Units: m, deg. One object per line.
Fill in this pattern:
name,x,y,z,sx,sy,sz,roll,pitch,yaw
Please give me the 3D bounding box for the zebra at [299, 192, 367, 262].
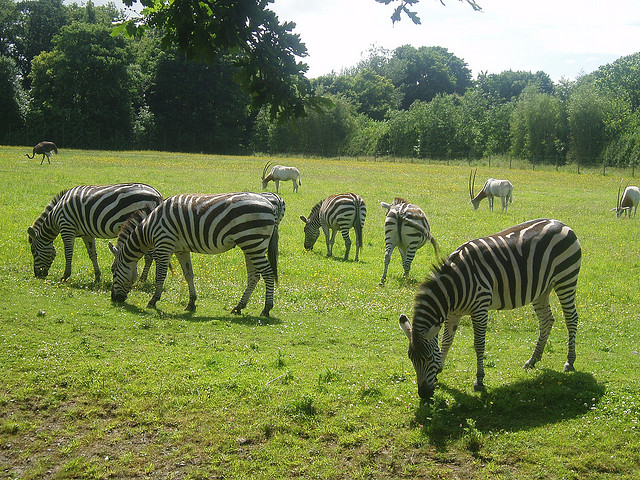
zebra,0.473,-0.475,29.591,1.130,2.421,3.821,-4,2,-31
